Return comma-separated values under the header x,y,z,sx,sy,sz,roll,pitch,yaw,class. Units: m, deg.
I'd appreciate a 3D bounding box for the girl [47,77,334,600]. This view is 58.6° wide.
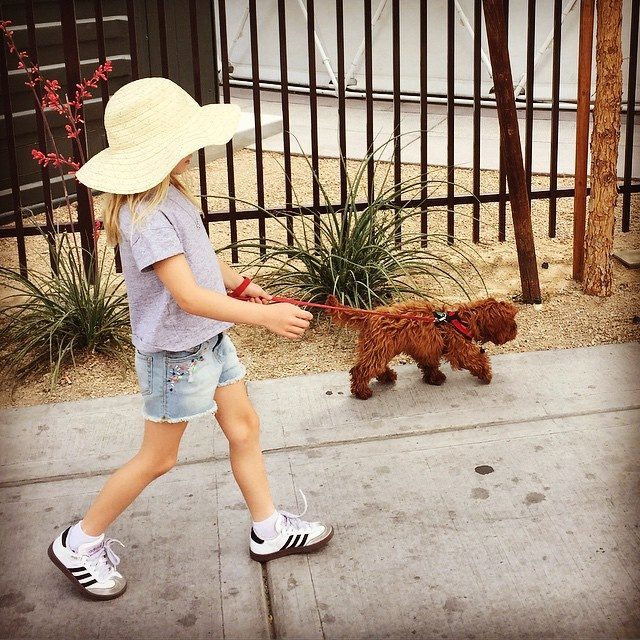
x,y,z,sx,sy,sz,roll,pitch,yaw,class
-0.423,0.095,1.936,0.905,1.645,0.716,-4,10,-25,girl

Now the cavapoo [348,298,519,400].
x,y,z,sx,sy,sz,roll,pitch,yaw,class
0.525,0.107,3.267,1.203,0.606,0.298,2,17,-11,cavapoo

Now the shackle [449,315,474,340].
x,y,z,sx,sy,sz,roll,pitch,yaw,class
0.773,0.027,3.205,0.072,0.223,0.024,-47,22,-6,shackle

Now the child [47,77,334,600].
x,y,z,sx,sy,sz,roll,pitch,yaw,class
-0.409,0.096,1.958,1.033,1.617,0.685,-2,9,-19,child

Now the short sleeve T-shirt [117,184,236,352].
x,y,z,sx,sy,sz,roll,pitch,yaw,class
-0.440,-0.143,1.751,0.322,0.497,0.332,-11,22,-17,short sleeve T-shirt

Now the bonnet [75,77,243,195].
x,y,z,sx,sy,sz,roll,pitch,yaw,class
-0.468,-0.559,1.718,0.527,0.316,0.343,-11,21,-18,bonnet
